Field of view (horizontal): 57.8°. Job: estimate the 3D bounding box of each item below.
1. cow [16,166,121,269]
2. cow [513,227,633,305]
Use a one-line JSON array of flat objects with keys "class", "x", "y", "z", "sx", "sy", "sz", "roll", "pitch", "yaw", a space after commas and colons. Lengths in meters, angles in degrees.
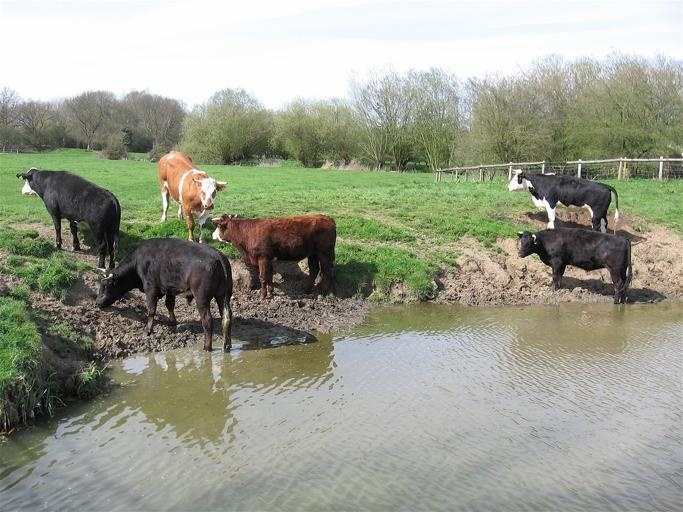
[{"class": "cow", "x": -6.391, "y": -0.966, "z": 14.858, "sx": 2.542, "sy": 2.440, "sz": 0.958, "roll": 1, "pitch": 10, "yaw": 39}, {"class": "cow", "x": 6.241, "y": 0.128, "z": 16.733, "sx": 2.910, "sy": 1.855, "sz": 0.833, "roll": 9, "pitch": 18, "yaw": 34}]
